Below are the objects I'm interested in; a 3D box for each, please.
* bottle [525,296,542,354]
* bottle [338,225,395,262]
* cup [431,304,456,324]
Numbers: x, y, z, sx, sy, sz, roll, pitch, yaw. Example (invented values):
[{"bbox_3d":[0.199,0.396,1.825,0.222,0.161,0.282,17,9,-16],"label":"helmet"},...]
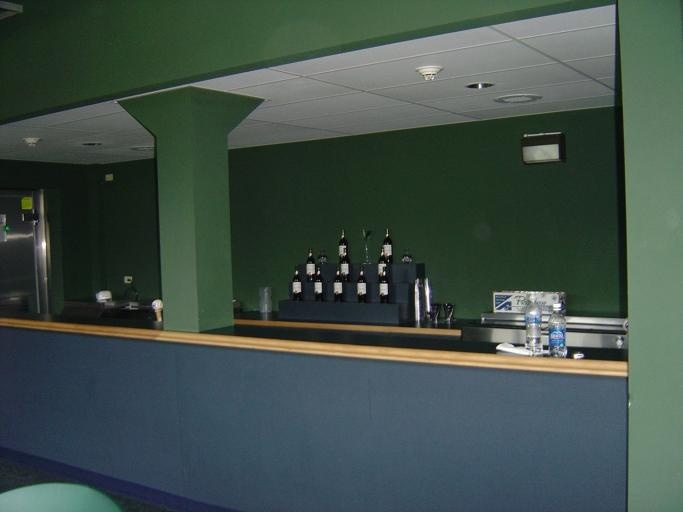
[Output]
[{"bbox_3d":[1.016,0.376,3.159,0.078,0.307,0.163,-3,0,16],"label":"bottle"},{"bbox_3d":[0.318,-0.102,5.459,0.384,0.226,0.374,0,-8,0],"label":"bottle"},{"bbox_3d":[0.844,0.470,4.931,0.174,0.138,0.192,2,-3,-8],"label":"cup"}]
